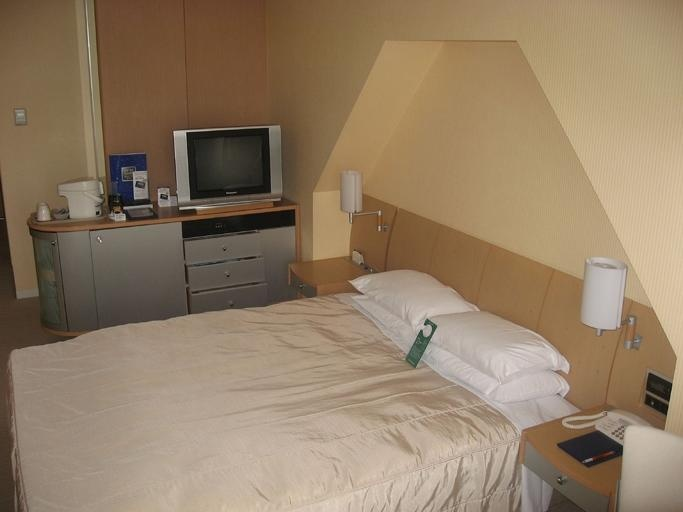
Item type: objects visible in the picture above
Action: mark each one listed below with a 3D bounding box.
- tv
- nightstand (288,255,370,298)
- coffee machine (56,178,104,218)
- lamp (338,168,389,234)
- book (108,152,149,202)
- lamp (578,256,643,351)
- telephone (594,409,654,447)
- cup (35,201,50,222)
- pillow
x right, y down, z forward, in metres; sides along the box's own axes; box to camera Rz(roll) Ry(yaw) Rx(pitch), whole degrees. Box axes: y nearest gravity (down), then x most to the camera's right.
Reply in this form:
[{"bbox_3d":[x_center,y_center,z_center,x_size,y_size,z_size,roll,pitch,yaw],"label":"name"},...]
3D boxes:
[{"bbox_3d":[-1.140,-0.899,5.092,1.285,1.011,0.721,-6,19,-19],"label":"tv"},{"bbox_3d":[-0.154,0.172,4.515,0.381,0.482,0.484,-4,13,-23],"label":"nightstand"},{"bbox_3d":[-2.278,-0.514,4.514,0.362,0.358,0.308,-7,15,-32],"label":"coffee machine"},{"bbox_3d":[0.192,-0.418,4.198,0.416,0.526,0.219,-6,18,-19],"label":"lamp"},{"bbox_3d":[-2.049,-0.758,4.940,0.346,0.518,0.062,-11,43,-33],"label":"book"},{"bbox_3d":[1.254,0.239,2.388,0.253,0.412,0.175,7,18,28],"label":"lamp"},{"bbox_3d":[1.342,0.811,2.484,0.198,0.198,0.061,27,-4,-22],"label":"telephone"},{"bbox_3d":[-2.609,-0.392,4.558,0.125,0.162,0.151,8,7,39],"label":"cup"},{"bbox_3d":[0.698,0.461,3.220,0.445,0.478,1.376,-8,14,-34],"label":"pillow"}]
